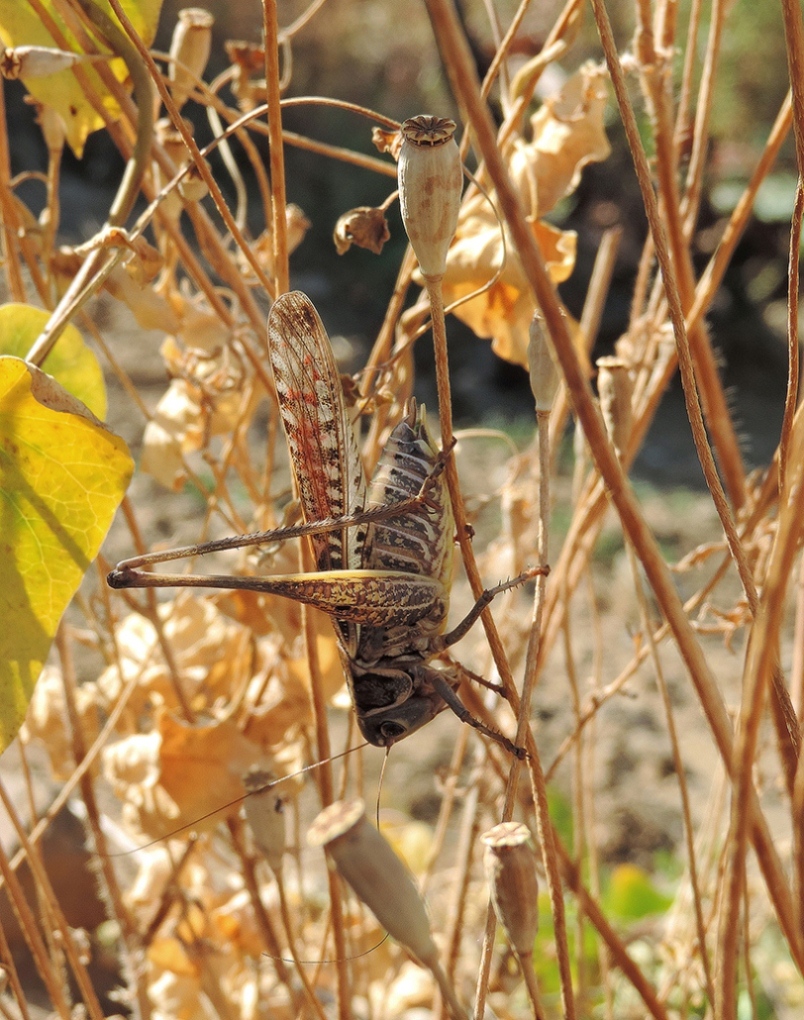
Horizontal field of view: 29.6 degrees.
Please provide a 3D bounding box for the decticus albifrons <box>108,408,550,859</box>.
[{"bbox_3d":[-0.037,0.066,0.895,0.159,0.244,0.144,-12,3,9],"label":"decticus albifrons"}]
